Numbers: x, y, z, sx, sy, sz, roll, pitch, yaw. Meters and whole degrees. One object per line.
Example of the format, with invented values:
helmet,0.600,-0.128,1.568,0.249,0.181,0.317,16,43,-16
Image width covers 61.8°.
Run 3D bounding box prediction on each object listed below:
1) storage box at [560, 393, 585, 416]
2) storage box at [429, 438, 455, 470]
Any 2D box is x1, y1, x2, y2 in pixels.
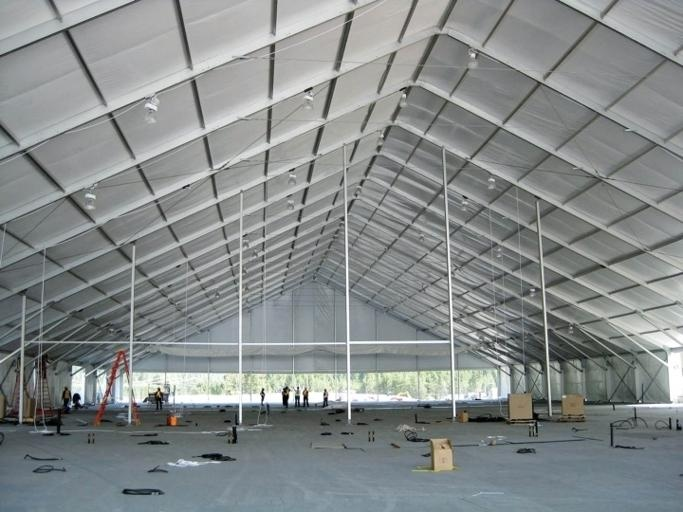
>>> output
storage box,10.594,6.803,26.337,1.393,0.950,1.151,-1,2,9
storage box,2.490,4.968,14.322,0.552,0.727,0.652,-3,-16,6
